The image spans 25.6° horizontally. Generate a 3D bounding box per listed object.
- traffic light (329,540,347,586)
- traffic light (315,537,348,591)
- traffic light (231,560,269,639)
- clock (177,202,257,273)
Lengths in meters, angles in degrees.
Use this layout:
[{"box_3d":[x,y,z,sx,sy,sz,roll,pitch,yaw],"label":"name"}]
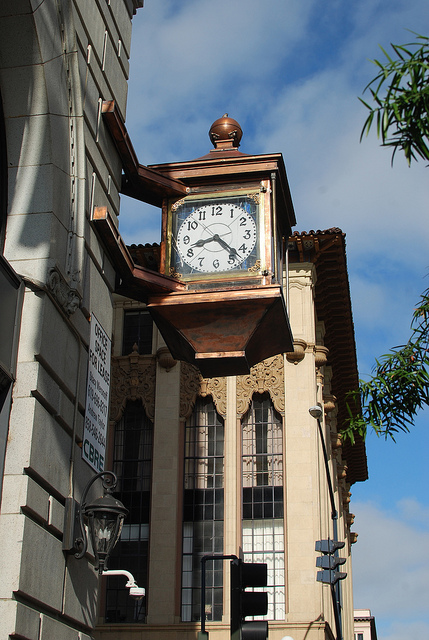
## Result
[{"box_3d":[2.645,5.208,20.111,0.353,1.243,0.269,-9,-59,10],"label":"traffic light"},{"box_3d":[2.434,5.113,19.897,0.616,0.183,1.251,-1,-66,9],"label":"traffic light"},{"box_3d":[0.346,2.792,9.427,0.355,0.866,0.632,0,-28,1],"label":"traffic light"},{"box_3d":[0.043,-1.285,15.009,1.474,1.748,0.106,-3,-35,6],"label":"clock"}]
